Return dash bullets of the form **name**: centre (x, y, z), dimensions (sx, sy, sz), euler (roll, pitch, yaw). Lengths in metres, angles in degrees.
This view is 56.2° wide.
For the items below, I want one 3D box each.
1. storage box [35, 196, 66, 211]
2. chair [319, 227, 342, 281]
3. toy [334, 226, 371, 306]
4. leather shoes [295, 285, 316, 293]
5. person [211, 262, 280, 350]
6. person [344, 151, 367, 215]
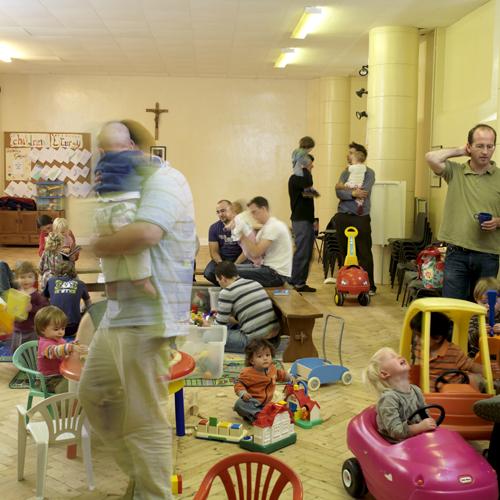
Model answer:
- **storage box**: centre (-4.490, -1.009, 10.509), dimensions (0.677, 0.307, 0.455), euler (0, 7, -2)
- **chair**: centre (1.308, 0.082, 7.507), dimensions (0.431, 0.758, 0.921), euler (0, 4, 5)
- **toy**: centre (1.312, 0.204, 5.910), dimensions (0.415, 0.934, 0.860), euler (0, 7, 13)
- **leather shoes**: centre (0.776, 0.528, 6.494), dimensions (0.333, 0.123, 0.103), euler (-3, 5, -16)
- **person**: centre (-0.048, 0.507, 3.842), dimensions (0.524, 0.741, 0.588), euler (-8, 11, -41)
- **person**: centre (1.418, -0.973, 6.421), dimensions (0.303, 0.730, 0.301), euler (-7, -4, -4)
